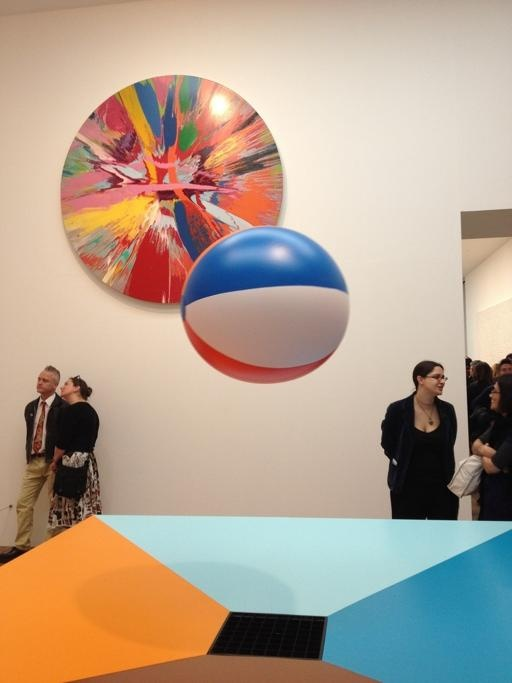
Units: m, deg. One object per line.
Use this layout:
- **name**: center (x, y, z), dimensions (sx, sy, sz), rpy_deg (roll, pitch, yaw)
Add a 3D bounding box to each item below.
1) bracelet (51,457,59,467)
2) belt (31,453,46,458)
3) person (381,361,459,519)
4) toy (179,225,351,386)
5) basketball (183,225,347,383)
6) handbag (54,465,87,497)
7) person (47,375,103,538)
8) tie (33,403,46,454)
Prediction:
- **bracelet**: center (-1.216, 0.727, 3.195), dimensions (0.024, 0.060, 0.046), rpy_deg (28, 2, -35)
- **belt**: center (-1.373, 0.715, 3.328), dimensions (0.083, 0.025, 0.018), rpy_deg (-1, 0, 2)
- **person**: center (0.896, 0.524, 2.819), dimensions (0.379, 0.836, 0.245), rpy_deg (-1, 0, -8)
- **toy**: center (0.041, -0.090, 1.421), dimensions (0.399, 0.385, 0.382), rpy_deg (3, 6, 7)
- **basketball**: center (0.032, -0.085, 1.422), dimensions (0.397, 0.383, 0.380), rpy_deg (3, 5, 7)
- **handbag**: center (-1.100, 0.828, 3.133), dimensions (0.168, 0.239, 0.128), rpy_deg (5, -4, -5)
- **person**: center (-1.114, 0.713, 3.278), dimensions (0.330, 0.714, 0.323), rpy_deg (-1, 0, -29)
- **tie**: center (-1.370, 0.553, 3.342), dimensions (0.076, 0.241, 0.062), rpy_deg (-1, 0, 3)
